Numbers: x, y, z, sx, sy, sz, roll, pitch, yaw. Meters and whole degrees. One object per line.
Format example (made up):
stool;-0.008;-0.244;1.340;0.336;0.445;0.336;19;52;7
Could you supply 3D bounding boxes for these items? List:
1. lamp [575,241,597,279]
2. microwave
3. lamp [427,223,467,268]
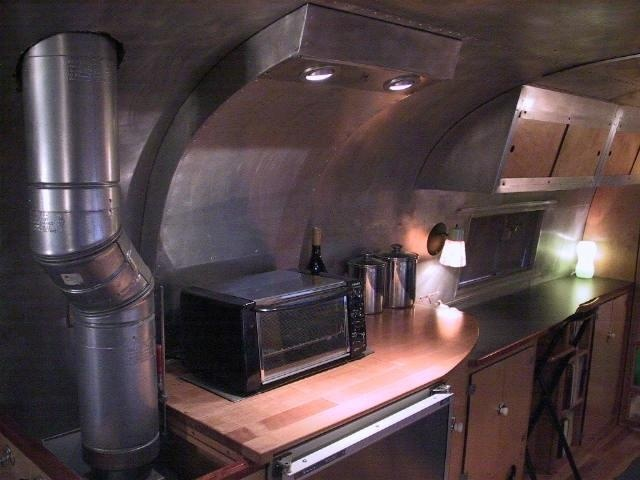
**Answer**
lamp;2.183;0.158;4.771;0.164;0.295;0.224;2;17;22
microwave;-0.132;0.337;2.285;0.749;0.325;0.553;-11;14;-44
lamp;0.767;0.024;3.330;0.262;0.198;0.217;8;17;40
